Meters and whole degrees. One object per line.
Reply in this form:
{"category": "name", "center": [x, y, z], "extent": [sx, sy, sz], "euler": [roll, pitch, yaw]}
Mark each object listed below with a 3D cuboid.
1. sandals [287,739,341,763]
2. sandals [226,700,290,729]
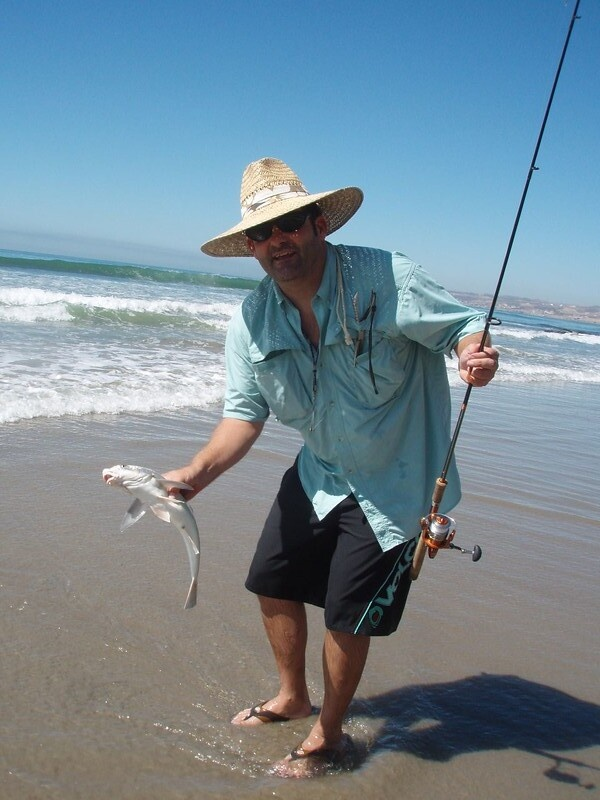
{"category": "sandals", "center": [0.048, 1.127, 2.274], "extent": [0.202, 0.065, 0.057], "euler": [0, 8, -6]}
{"category": "sandals", "center": [-0.145, 1.112, 2.544], "extent": [0.203, 0.040, 0.076], "euler": [2, 4, 1]}
